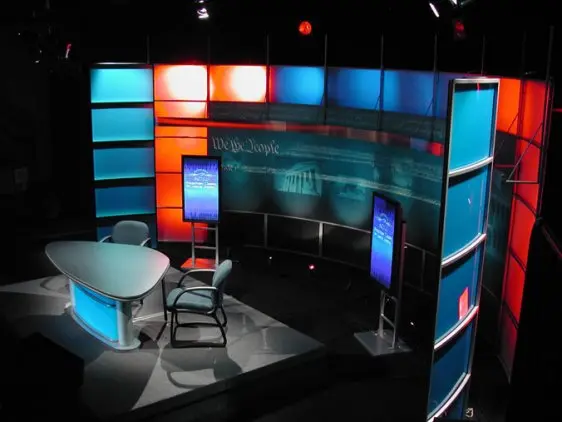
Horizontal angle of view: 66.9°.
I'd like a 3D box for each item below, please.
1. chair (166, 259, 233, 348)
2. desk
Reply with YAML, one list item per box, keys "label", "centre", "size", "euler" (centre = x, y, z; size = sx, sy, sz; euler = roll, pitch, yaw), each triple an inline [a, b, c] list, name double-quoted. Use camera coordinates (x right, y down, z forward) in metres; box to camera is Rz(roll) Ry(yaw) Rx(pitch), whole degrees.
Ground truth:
- label: "chair"
  centre: [-1.055, 1.107, 5.380]
  size: [0.806, 0.953, 0.688]
  euler: [3, 11, 3]
- label: "desk"
  centre: [-2.166, 1.056, 5.531]
  size: [2.030, 0.828, 1.294]
  euler: [16, 19, 36]
